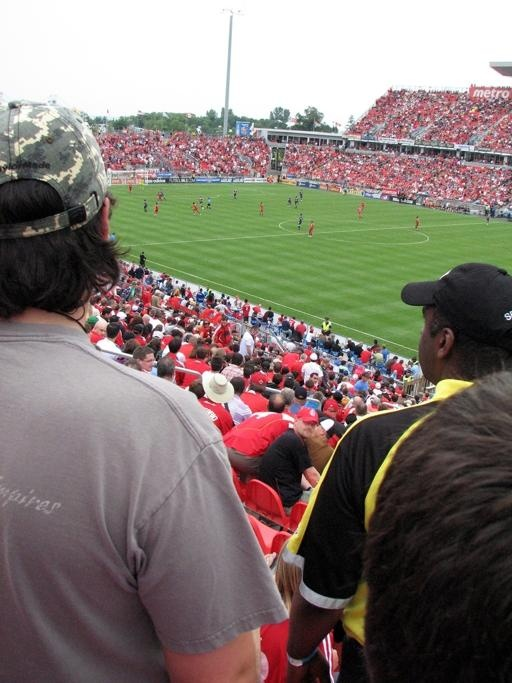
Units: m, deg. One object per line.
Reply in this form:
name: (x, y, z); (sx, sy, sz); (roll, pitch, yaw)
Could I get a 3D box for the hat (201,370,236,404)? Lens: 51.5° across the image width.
hat: (-0.627, 0.681, 8.333); (0.470, 0.180, 0.495); (3, 49, -43)

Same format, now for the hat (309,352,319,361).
hat: (2.235, 0.603, 20.539); (0.266, 0.210, 0.388); (1, 18, 9)
